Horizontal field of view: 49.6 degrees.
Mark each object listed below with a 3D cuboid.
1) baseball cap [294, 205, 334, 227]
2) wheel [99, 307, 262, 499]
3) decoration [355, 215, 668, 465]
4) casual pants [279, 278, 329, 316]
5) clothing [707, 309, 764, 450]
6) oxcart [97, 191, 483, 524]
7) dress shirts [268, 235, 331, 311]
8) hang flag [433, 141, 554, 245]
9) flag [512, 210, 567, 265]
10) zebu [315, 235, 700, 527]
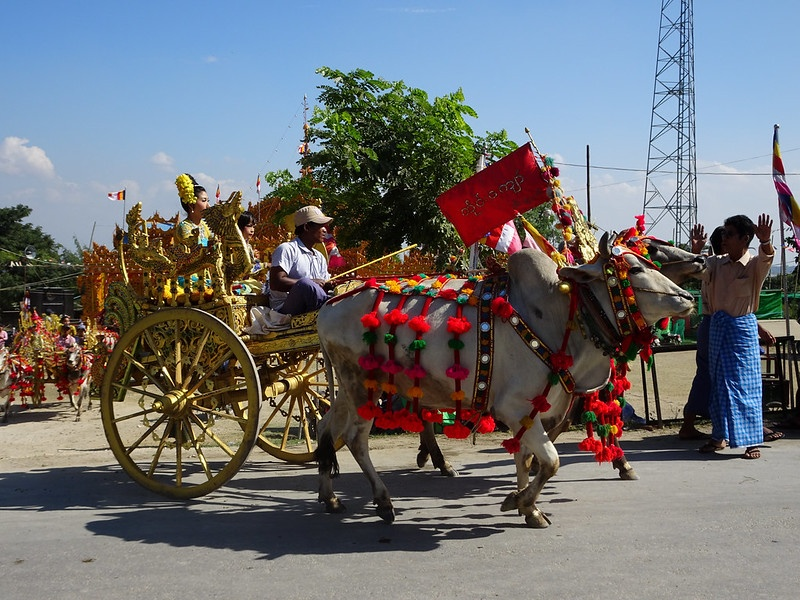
[{"bbox_3d":[-0.904,-0.855,8.934,0.351,0.158,0.211,-11,8,-4],"label":"baseball cap"},{"bbox_3d":[-2.217,1.057,8.781,1.792,1.555,0.706,-11,-12,11],"label":"wheel"},{"bbox_3d":[0.840,0.491,7.889,3.431,2.087,1.153,2,13,39],"label":"decoration"},{"bbox_3d":[-0.943,-0.007,8.410,0.409,0.160,0.391,-25,39,-21],"label":"casual pants"},{"bbox_3d":[3.665,0.891,9.422,0.571,1.464,0.683,0,10,17],"label":"clothing"},{"bbox_3d":[-2.186,0.649,10.037,3.956,2.845,2.905,-3,-4,22],"label":"oxcart"},{"bbox_3d":[-1.013,-0.237,8.689,0.408,0.622,0.753,-11,-18,36],"label":"dress shirts"},{"bbox_3d":[0.959,-1.075,9.379,1.281,0.690,0.130,-31,29,-21],"label":"hang flag"},{"bbox_3d":[1.350,-0.579,8.468,0.173,0.192,0.859,17,-17,43],"label":"flag"},{"bbox_3d":[0.974,0.863,8.154,3.165,1.990,1.076,-1,-10,7],"label":"zebu"}]
